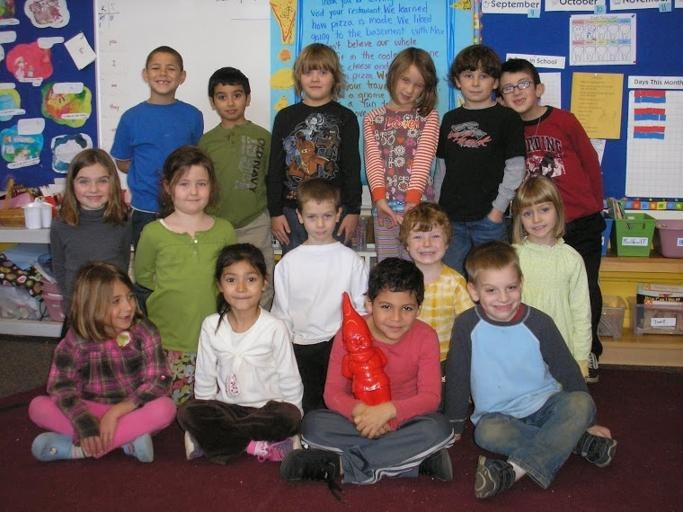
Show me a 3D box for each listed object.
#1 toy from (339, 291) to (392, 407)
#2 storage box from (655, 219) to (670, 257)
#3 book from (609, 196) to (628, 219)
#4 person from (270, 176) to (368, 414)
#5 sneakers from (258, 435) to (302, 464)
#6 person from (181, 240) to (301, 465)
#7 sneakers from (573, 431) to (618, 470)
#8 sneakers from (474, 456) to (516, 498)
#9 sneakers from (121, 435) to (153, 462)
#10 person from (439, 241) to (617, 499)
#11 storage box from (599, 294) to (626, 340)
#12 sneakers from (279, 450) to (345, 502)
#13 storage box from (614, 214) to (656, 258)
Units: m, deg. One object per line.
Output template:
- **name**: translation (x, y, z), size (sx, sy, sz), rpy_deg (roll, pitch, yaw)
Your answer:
- **toy**: translation (0.090, 0.408, 2.637), size (0.166, 0.447, 0.110), rpy_deg (-17, -20, 10)
- **storage box**: translation (1.899, -0.105, 3.633), size (0.075, 0.192, 0.162), rpy_deg (5, 14, 26)
- **book**: translation (1.664, -0.282, 3.674), size (0.121, 0.120, 0.029), rpy_deg (6, -4, -42)
- **person**: translation (-0.107, 0.355, 2.991), size (0.531, 1.361, 0.399), rpy_deg (-1, 13, -5)
- **sneakers**: translation (-0.264, 0.821, 2.622), size (0.152, 0.059, 0.104), rpy_deg (-19, 1, -9)
- **person**: translation (-0.458, 0.410, 2.692), size (0.580, 0.850, 0.532), rpy_deg (-2, 11, -14)
- **sneakers**: translation (1.069, 0.810, 2.574), size (0.075, 0.089, 0.187), rpy_deg (20, -4, -22)
- **sneakers**: translation (0.596, 0.870, 2.408), size (0.076, 0.103, 0.179), rpy_deg (-6, 0, 8)
- **sneakers**: translation (-0.878, 0.820, 2.624), size (0.121, 0.106, 0.066), rpy_deg (0, -1, 21)
- **person**: translation (0.755, 0.438, 2.618), size (0.578, 0.911, 0.570), rpy_deg (-3, 13, -12)
- **storage box**: translation (1.655, 0.380, 3.754), size (0.188, 0.154, 0.255), rpy_deg (0, 7, 10)
- **sneakers**: translation (-0.107, 0.867, 2.502), size (0.266, 0.138, 0.120), rpy_deg (5, 14, 23)
- **storage box**: translation (1.711, -0.109, 3.574), size (0.183, 0.171, 0.270), rpy_deg (2, 13, 13)
